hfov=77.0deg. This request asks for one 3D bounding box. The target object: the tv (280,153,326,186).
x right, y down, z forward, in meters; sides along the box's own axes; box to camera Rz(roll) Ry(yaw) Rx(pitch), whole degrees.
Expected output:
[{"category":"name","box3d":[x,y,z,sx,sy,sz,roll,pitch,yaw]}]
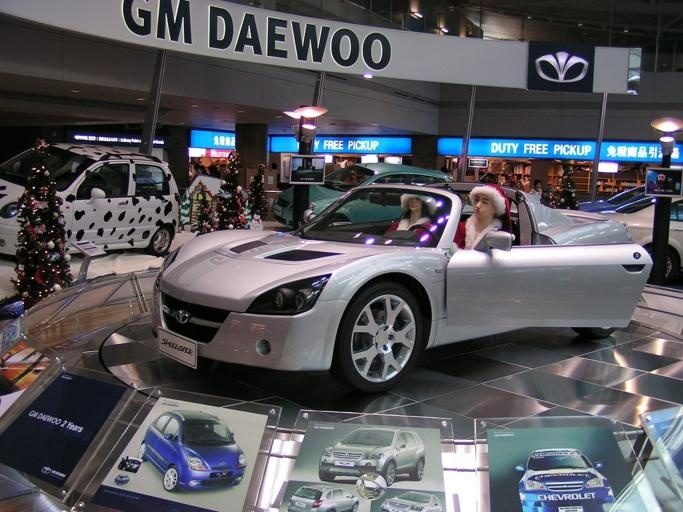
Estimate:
[{"category":"tv","box3d":[-0.731,-1.649,8.448,0.895,0.542,0.800,1,5,-9]}]

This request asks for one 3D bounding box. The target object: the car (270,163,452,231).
[{"category":"car","box3d":[0.624,-1.876,12.675,5.130,1.565,2.306,-3,10,-19]}]

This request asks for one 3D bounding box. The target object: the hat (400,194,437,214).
[{"category":"hat","box3d":[0.662,-0.476,3.739,0.180,0.091,0.236,6,11,-34]}]

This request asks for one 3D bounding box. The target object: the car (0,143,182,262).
[{"category":"car","box3d":[-4.980,-1.240,9.105,2.400,1.851,3.762,11,9,41]}]

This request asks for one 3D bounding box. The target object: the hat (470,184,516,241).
[{"category":"hat","box3d":[1.424,-0.441,3.988,0.393,0.500,0.222,4,19,33]}]

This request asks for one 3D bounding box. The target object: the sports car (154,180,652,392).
[{"category":"sports car","box3d":[0.485,0.201,3.417,3.163,0.988,2.071,-1,5,-30]}]
